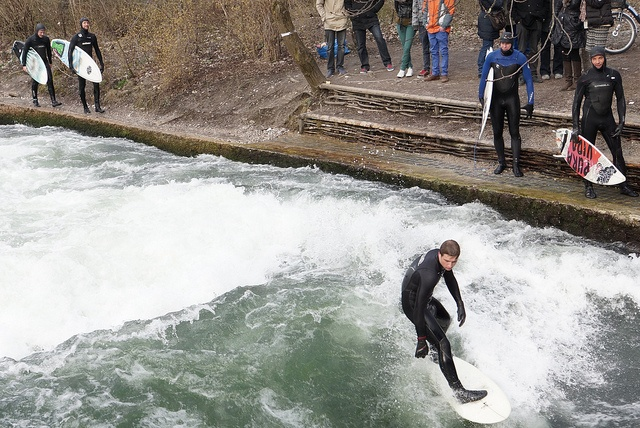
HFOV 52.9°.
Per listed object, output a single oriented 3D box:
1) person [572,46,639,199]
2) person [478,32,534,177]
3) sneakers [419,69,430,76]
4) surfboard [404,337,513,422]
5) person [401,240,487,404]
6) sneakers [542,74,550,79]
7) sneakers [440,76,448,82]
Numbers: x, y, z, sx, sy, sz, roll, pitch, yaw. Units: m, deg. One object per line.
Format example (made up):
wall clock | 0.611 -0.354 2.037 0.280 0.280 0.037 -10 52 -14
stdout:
person | 5.424 -1.996 12.446 1.029 2.334 0.666 5 25 22
person | 3.789 -2.219 13.364 0.907 2.871 0.642 2 24 17
sneakers | 2.770 -3.731 17.103 0.257 0.119 0.129 -10 22 -33
surfboard | 2.356 2.722 10.246 0.618 0.253 1.701 -30 37 -16
person | 2.052 1.917 10.651 1.361 2.385 1.026 10 49 33
sneakers | 5.624 -3.406 16.055 0.142 0.045 0.137 4 64 9
sneakers | 3.189 -3.460 16.598 0.132 0.169 0.389 -1 6 14
